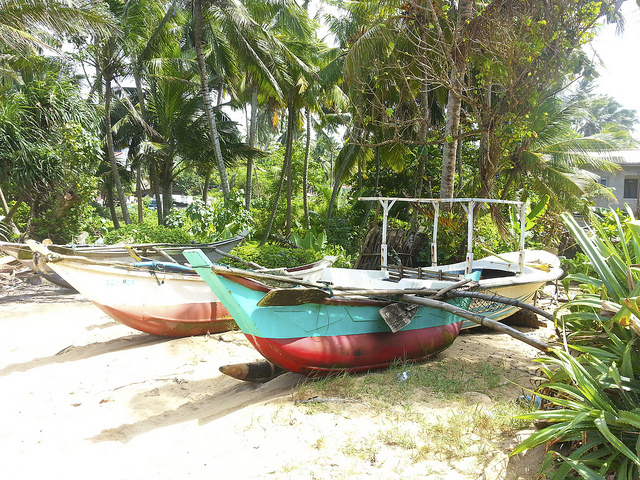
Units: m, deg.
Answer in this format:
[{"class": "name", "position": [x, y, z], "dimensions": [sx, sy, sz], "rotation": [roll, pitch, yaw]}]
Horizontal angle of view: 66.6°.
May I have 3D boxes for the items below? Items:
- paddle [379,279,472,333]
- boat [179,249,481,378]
[{"class": "paddle", "position": [1.986, 0.976, 8.513], "dimensions": [2.042, 0.557, 0.114], "rotation": [-15, -27, -25]}, {"class": "boat", "position": [0.942, 1.235, 9.083], "dimensions": [6.350, 2.177, 1.971], "rotation": [6, -1, -27]}]
